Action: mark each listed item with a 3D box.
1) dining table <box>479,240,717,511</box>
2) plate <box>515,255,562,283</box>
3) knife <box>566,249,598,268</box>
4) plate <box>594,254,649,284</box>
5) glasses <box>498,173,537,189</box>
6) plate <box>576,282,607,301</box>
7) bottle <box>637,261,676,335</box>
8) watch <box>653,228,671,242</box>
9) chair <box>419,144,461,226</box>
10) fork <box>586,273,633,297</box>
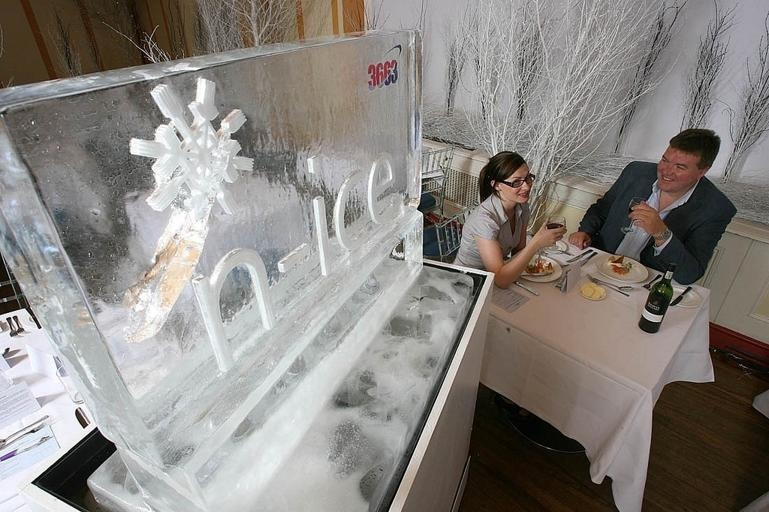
[{"bbox_3d":[1.117,0.587,2.205,0.934,0.797,0.906,24,35,37],"label":"dining table"},{"bbox_3d":[0.899,0.087,2.231,0.182,0.024,0.179,-23,41,-21],"label":"plate"},{"bbox_3d":[1.183,0.016,2.351,0.107,0.019,0.366,28,29,30],"label":"knife"},{"bbox_3d":[1.366,0.083,2.254,0.191,0.027,0.184,23,39,31],"label":"plate"},{"bbox_3d":[0.795,-0.430,2.294,0.117,0.035,0.118,-30,34,-24],"label":"glasses"},{"bbox_3d":[1.114,0.187,2.104,0.102,0.021,0.101,-23,48,-24],"label":"plate"},{"bbox_3d":[1.343,0.164,1.893,0.096,0.359,0.233,22,35,35],"label":"bottle"},{"bbox_3d":[1.673,-0.125,2.351,0.077,0.080,0.079,2,0,3],"label":"watch"},{"bbox_3d":[0.495,-0.758,4.124,0.459,0.679,0.484,4,7,-21],"label":"chair"},{"bbox_3d":[1.243,0.159,2.161,0.208,0.032,0.040,24,66,29],"label":"fork"}]
